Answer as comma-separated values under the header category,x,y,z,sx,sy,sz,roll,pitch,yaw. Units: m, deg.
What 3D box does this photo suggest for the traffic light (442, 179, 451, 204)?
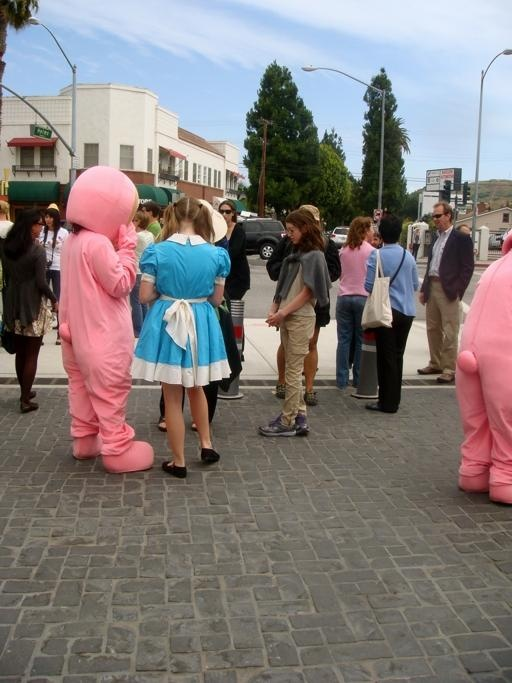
category,x,y,z,sx,sy,sz,roll,pitch,yaw
traffic light,10.308,-8.230,31.446,0.399,1.213,1.232,3,4,17

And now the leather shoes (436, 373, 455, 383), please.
category,x,y,z,sx,sy,sz,roll,pitch,yaw
leather shoes,2.445,0.445,7.501,0.213,0.152,0.289,3,4,18

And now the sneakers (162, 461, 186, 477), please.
category,x,y,z,sx,sy,sz,roll,pitch,yaw
sneakers,-0.569,0.877,4.028,0.074,0.077,0.197,-8,20,-40

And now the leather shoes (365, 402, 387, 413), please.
category,x,y,z,sx,sy,sz,roll,pitch,yaw
leather shoes,1.234,0.686,6.040,0.179,0.071,0.071,1,5,38

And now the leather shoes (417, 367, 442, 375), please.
category,x,y,z,sx,sy,sz,roll,pitch,yaw
leather shoes,2.365,0.390,7.945,0.324,0.129,0.118,4,0,-8

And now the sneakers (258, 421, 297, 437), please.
category,x,y,z,sx,sy,sz,roll,pitch,yaw
sneakers,0.188,0.762,5.099,0.332,0.162,0.123,4,-1,-3

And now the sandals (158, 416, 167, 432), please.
category,x,y,z,sx,sy,sz,roll,pitch,yaw
sandals,-0.830,0.720,5.133,0.118,0.140,0.349,-1,-2,-8
